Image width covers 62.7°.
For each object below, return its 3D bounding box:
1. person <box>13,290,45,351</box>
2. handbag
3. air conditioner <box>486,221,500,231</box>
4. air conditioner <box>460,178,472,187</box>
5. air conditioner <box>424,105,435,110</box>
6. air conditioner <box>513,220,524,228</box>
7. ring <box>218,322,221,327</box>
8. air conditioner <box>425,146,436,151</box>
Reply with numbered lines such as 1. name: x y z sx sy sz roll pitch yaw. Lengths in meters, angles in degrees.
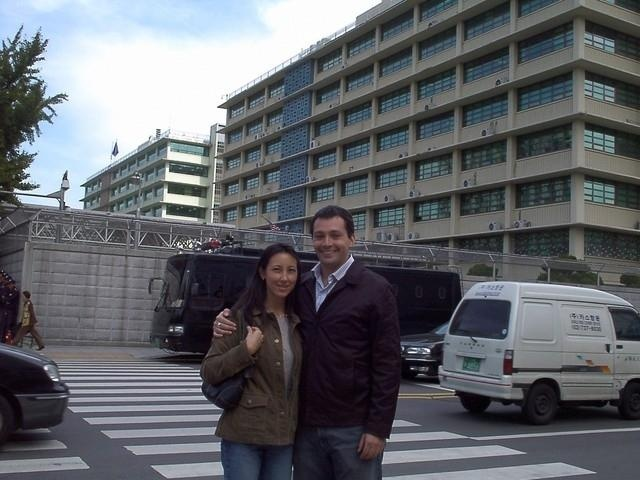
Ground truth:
1. person: -10.284 2.856 18.690 1.126 2.393 1.557 -1 3 -23
2. handbag: -0.750 0.813 3.517 0.250 0.623 0.463 21 -5 -36
3. air conditioner: 12.588 -0.989 38.116 0.642 0.564 0.595 4 -5 -30
4. air conditioner: 11.272 -4.354 40.052 0.538 0.557 0.666 -6 -4 42
5. air conditioner: 9.071 -10.929 43.425 0.584 0.341 0.775 1 3 17
6. air conditioner: 13.778 -1.121 36.611 0.272 0.576 0.843 8 -9 -38
7. ring: -0.659 0.549 3.450 0.015 0.020 0.006 2 -5 21
8. air conditioner: 9.089 -7.455 43.355 0.418 0.349 0.383 4 15 41
